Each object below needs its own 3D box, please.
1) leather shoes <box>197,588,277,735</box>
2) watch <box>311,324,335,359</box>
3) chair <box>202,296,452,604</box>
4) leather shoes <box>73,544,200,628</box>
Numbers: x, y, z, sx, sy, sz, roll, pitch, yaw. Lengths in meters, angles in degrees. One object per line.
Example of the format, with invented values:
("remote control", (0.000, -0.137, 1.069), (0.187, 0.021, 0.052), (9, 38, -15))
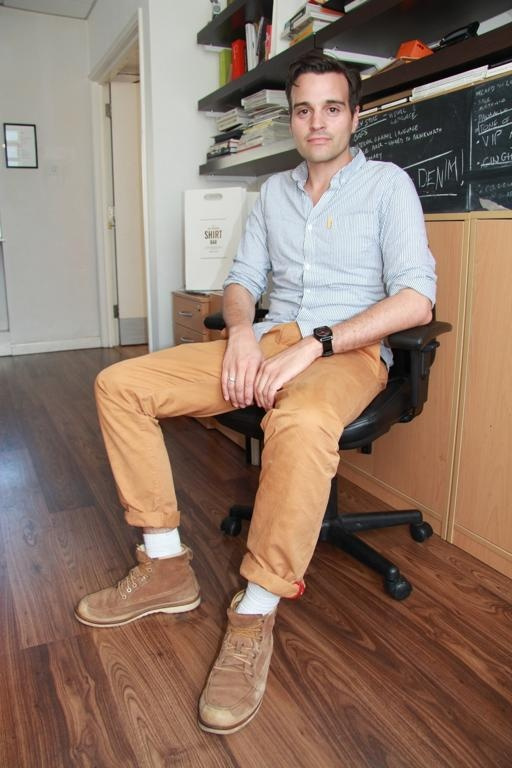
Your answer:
("leather shoes", (-0.028, 0.484, 0.971), (0.073, 0.086, 0.217), (5, 18, 13))
("watch", (0.141, -0.087, 1.171), (0.043, 0.064, 0.037), (0, 12, 5))
("chair", (0.154, 0.001, 1.404), (0.568, 0.925, 0.534), (4, 16, 29))
("leather shoes", (-0.246, 0.413, 1.292), (0.324, 0.187, 0.123), (-4, 34, -21))
